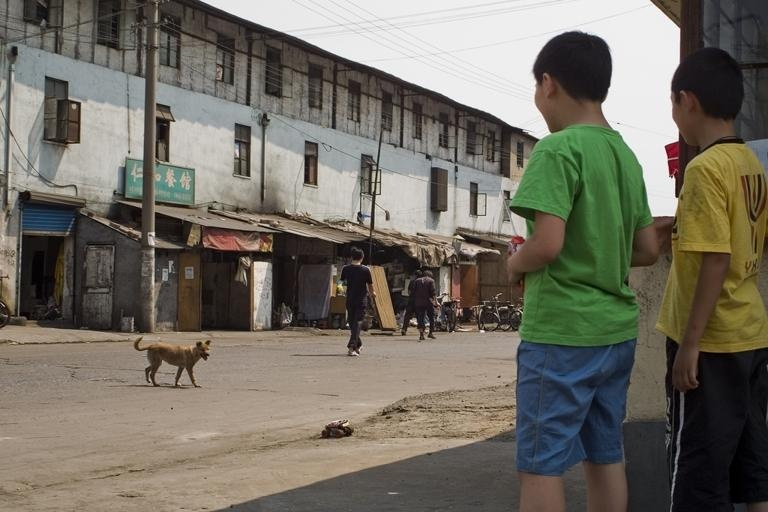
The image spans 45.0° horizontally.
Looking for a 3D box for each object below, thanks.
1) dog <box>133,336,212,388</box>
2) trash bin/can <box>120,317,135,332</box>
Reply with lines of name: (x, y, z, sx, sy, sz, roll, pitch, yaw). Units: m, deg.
dog: (-2.956, 1.509, 12.895, 0.934, 0.625, 1.351, 1, -7, -16)
trash bin/can: (-5.971, 1.624, 21.738, 0.292, 0.358, 0.304, 1, -7, -17)
